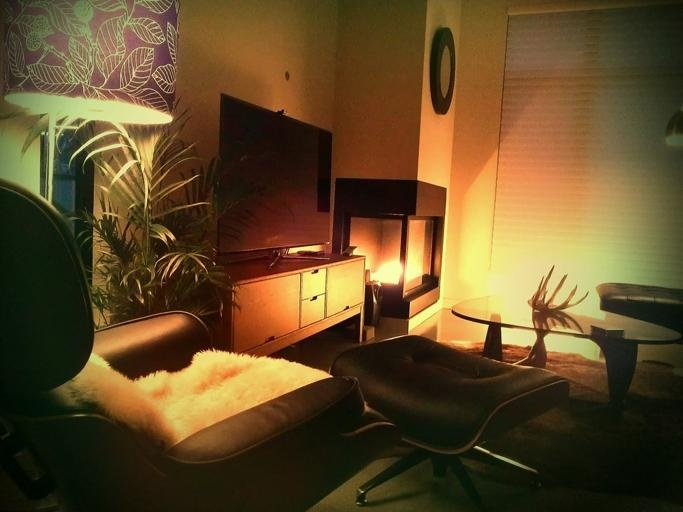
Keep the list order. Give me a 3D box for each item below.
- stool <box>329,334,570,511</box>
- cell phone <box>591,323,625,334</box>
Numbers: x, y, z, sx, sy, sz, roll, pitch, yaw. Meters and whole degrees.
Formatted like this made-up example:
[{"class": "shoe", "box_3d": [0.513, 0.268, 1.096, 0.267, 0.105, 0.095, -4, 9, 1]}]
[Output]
[{"class": "stool", "box_3d": [0.361, 0.476, 2.105, 0.634, 0.428, 0.672, -8, 13, -40]}, {"class": "cell phone", "box_3d": [1.368, 0.388, 2.772, 0.152, 0.013, 0.171, 7, 11, 28]}]
